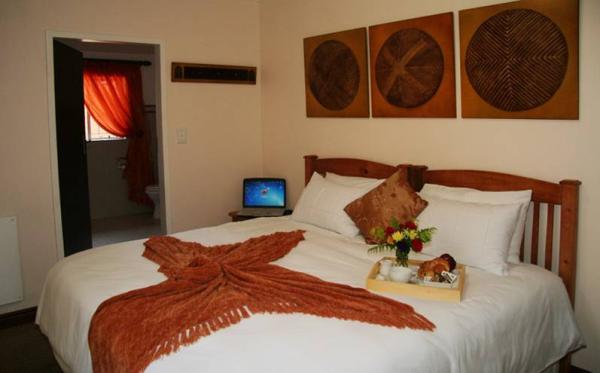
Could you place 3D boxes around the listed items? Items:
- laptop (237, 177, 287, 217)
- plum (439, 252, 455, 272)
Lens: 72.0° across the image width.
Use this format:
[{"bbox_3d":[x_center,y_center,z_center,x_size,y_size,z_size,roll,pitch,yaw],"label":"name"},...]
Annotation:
[{"bbox_3d":[-0.458,0.125,5.255,0.671,0.521,0.432,1,2,1],"label":"laptop"},{"bbox_3d":[1.148,0.584,3.221,0.128,0.135,0.048,-32,-17,37],"label":"plum"}]
